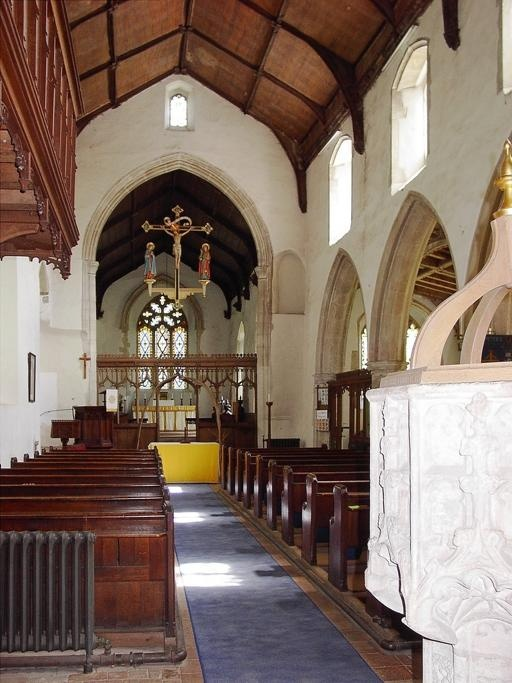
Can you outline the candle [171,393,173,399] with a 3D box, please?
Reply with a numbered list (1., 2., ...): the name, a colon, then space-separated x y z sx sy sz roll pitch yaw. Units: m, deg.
1. candle: -2.594 1.692 22.276 0.063 0.147 0.268 -1 -5 -7
